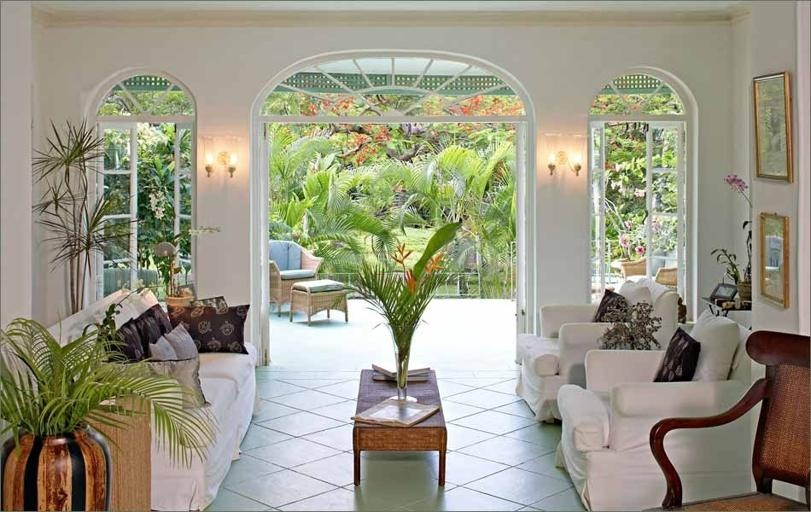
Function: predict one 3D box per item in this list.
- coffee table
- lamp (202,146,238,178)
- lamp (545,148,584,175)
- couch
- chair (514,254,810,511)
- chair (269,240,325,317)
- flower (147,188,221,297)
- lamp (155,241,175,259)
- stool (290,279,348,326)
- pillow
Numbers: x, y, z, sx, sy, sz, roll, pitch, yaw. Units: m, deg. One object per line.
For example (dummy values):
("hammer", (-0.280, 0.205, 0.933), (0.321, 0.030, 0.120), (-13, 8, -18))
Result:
("coffee table", (-0.057, 1.095, 4.567), (0.566, 0.321, 1.408), (-1, 5, -1))
("lamp", (-2.279, -1.190, 7.076), (0.395, 0.356, 0.149), (0, 2, -3))
("lamp", (1.964, -1.166, 7.179), (0.554, 0.404, 0.282), (0, 3, -1))
("couch", (-1.769, 1.047, 4.073), (0.661, 0.760, 1.555), (0, 6, -8))
("chair", (1.850, 1.079, 4.513), (1.473, 1.264, 1.455), (0, -2, -2))
("chair", (-2.046, 0.301, 10.118), (1.024, 1.088, 0.847), (-1, 8, -34))
("flower", (-2.658, -0.151, 6.943), (0.827, 1.360, 1.686), (-4, 10, -24))
("lamp", (-2.588, -0.077, 6.214), (0.159, 0.146, 0.145), (-7, 11, -38))
("stool", (-1.396, 0.711, 9.329), (0.963, 0.765, 1.014), (-2, 9, -12))
("pillow", (-1.980, 1.024, 4.941), (0.658, 0.395, 1.340), (5, 2, -1))
